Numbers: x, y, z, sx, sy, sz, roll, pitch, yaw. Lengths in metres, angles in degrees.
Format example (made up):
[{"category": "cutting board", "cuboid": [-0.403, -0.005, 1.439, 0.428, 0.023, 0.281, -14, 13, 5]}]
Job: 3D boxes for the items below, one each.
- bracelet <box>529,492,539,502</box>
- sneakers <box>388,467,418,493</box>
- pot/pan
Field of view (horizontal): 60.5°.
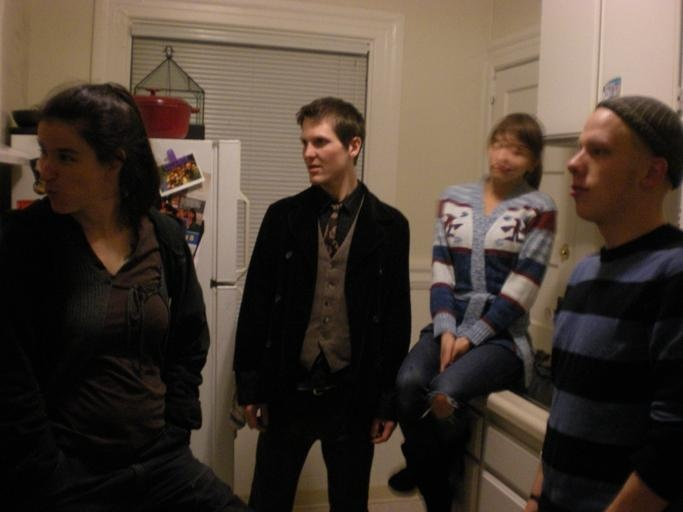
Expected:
[{"category": "bracelet", "cuboid": [0.487, 0.609, 1.476, 0.021, 0.009, 0.031, 11, -26, 22]}, {"category": "sneakers", "cuboid": [0.243, 0.822, 2.141, 0.035, 0.111, 0.145, -6, -8, -42]}, {"category": "pot/pan", "cuboid": [-0.703, -0.576, 2.330, 0.228, 0.200, 0.241, 2, 7, 9]}]
